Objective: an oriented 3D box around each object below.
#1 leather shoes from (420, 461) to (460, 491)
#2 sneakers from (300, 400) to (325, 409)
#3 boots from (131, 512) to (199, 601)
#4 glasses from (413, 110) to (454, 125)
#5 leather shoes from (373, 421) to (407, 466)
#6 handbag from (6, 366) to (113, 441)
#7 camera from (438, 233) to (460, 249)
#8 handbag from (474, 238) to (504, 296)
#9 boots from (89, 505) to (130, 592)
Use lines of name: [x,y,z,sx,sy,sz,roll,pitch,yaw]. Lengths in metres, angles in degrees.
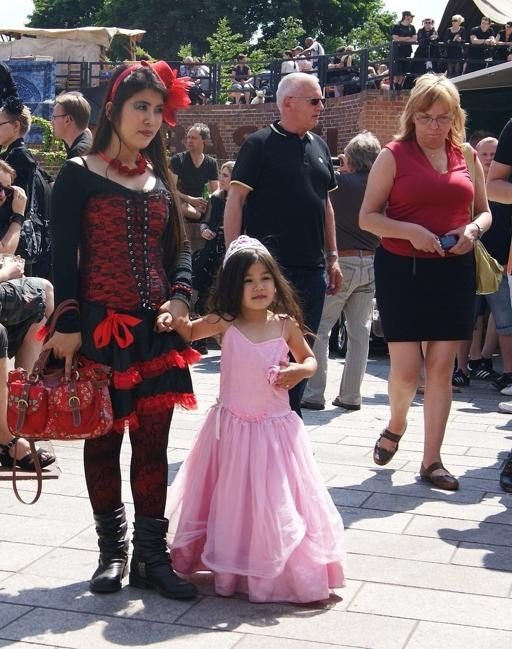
leather shoes: [0.996,0.821,3.705,0.121,0.124,0.305,0,4,-25]
sneakers: [0.474,0.685,5.645,0.218,0.080,0.070,6,3,9]
boots: [-0.315,0.806,2.331,0.286,0.250,0.116,4,-3,33]
glasses: [0.924,-1.065,3.505,0.184,0.100,0.095,2,3,8]
leather shoes: [0.786,0.722,3.998,0.105,0.292,0.093,26,-6,19]
handbag: [-0.642,0.261,2.228,0.281,0.231,0.118,-2,-8,9]
camera: [0.984,-0.418,3.437,0.109,0.086,0.078,2,3,3]
handbag: [1.336,-0.334,3.869,0.138,0.309,0.422,3,4,21]
boots: [-0.525,0.808,2.401,0.122,0.262,0.293,-1,-6,-1]
